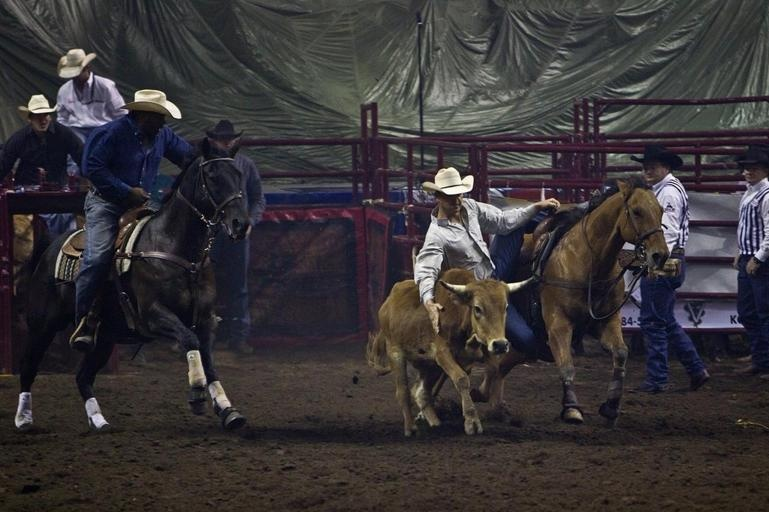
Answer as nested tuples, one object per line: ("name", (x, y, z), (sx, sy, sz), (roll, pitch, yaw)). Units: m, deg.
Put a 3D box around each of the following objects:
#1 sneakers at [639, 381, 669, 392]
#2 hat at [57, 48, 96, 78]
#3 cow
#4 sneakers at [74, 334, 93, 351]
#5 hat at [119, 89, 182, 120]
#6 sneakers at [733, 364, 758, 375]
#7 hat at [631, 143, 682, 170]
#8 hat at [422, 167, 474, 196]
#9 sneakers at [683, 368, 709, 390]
("sneakers", (3.512, 1.721, 15.943), (0.428, 0.149, 0.127), (3, 25, 8))
("hat", (-4.254, -2.672, 16.639), (0.469, 0.417, 0.549), (1, 4, -12))
("cow", (0.707, 1.160, 14.495), (0.862, 2.051, 1.968), (-1, 5, -39))
("sneakers", (-3.592, 1.033, 14.441), (0.185, 0.204, 0.274), (3, 4, 14))
("hat", (-2.786, -1.907, 14.469), (0.702, 0.231, 0.462), (7, -7, -9))
("sneakers", (4.939, 1.558, 16.594), (0.370, 0.102, 0.139), (0, 8, 5))
("hat", (3.612, -1.325, 15.996), (0.549, 0.163, 0.416), (6, -2, -2))
("hat", (0.758, -0.924, 14.753), (0.582, 0.339, 0.502), (2, 4, 1))
("sneakers", (4.133, 1.634, 15.919), (0.169, 0.175, 0.396), (-34, -3, -17))
